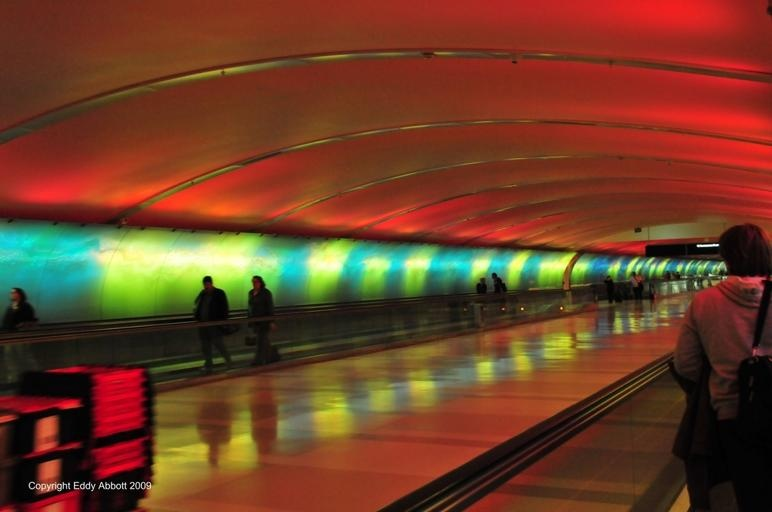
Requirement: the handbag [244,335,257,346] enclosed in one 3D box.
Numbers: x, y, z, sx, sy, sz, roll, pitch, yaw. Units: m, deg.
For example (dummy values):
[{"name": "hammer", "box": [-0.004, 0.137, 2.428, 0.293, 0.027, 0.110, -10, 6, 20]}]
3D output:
[{"name": "handbag", "box": [-3.466, 2.116, 13.134, 0.262, 0.251, 0.455, -6, -7, 24]}]
